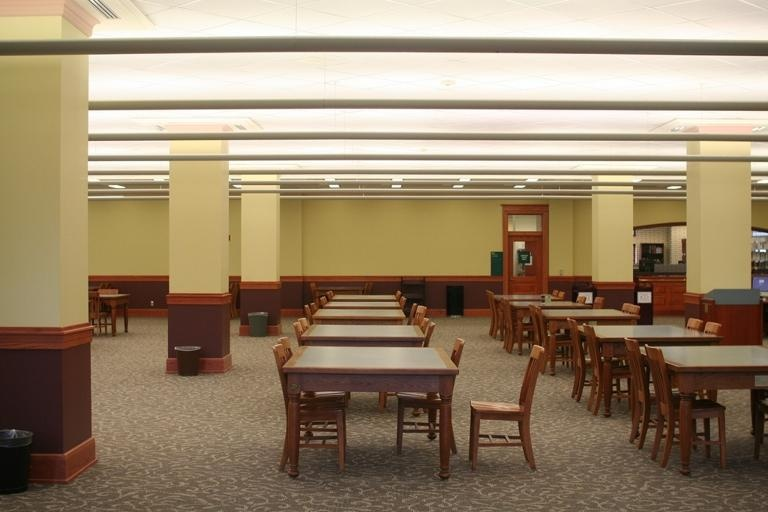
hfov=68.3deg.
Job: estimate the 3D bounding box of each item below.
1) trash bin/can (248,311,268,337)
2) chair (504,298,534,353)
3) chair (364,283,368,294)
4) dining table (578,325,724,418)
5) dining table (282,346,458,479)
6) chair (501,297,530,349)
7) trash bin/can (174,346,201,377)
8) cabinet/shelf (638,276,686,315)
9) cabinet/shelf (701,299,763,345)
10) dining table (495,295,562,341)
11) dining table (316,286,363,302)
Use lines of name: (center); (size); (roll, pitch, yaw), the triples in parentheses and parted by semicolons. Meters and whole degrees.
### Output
trash bin/can: (-3.320, 1.817, 14.963); (0.508, 0.608, 0.332); (0, 3, -11)
chair: (2.953, 1.537, 12.408); (0.688, 0.759, 1.468); (-1, 2, -1)
chair: (-0.578, 1.116, 19.472); (0.180, 0.349, 0.319); (0, 2, -2)
dining table: (3.754, 1.797, 8.067); (1.798, 0.791, 1.902); (0, -1, 3)
dining table: (-0.153, 1.609, 5.941); (1.761, 0.751, 1.509); (0, -4, 0)
chair: (2.940, 1.515, 12.672); (0.625, 0.738, 1.421); (-1, 1, 0)
trash bin/can: (-3.495, 1.906, 10.365); (0.612, 0.388, 0.552); (1, 1, -2)
cabinet/shelf: (8.724, 1.241, 17.773); (2.034, 1.234, 1.042); (0, -3, 2)
cabinet/shelf: (6.169, 1.183, 9.986); (1.257, 0.785, 0.580); (0, -4, 1)
dining table: (3.447, 1.653, 13.328); (1.517, 0.820, 2.109); (0, -1, 0)
dining table: (-1.575, 1.195, 19.130); (1.452, 0.605, 0.630); (0, -5, -2)
